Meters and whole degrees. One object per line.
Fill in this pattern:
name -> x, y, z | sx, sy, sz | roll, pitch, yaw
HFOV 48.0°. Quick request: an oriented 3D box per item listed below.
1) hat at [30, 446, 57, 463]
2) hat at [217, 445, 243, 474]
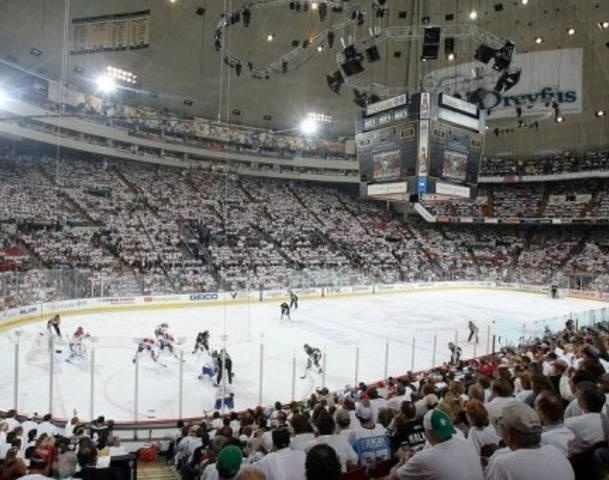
hat -> -11.129, 9.250, 29.299 | 0.778, 0.695, 0.817 | -4, -15, 10
hat -> -3.051, 9.001, 27.940 | 0.824, 1.219, 0.710 | 7, -41, -5
